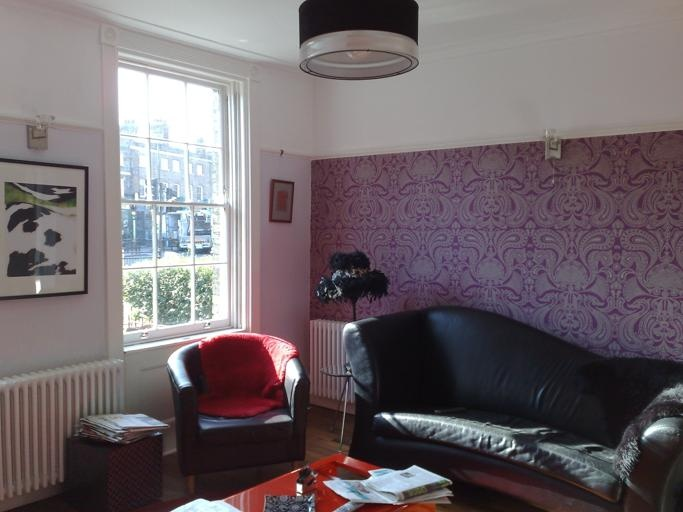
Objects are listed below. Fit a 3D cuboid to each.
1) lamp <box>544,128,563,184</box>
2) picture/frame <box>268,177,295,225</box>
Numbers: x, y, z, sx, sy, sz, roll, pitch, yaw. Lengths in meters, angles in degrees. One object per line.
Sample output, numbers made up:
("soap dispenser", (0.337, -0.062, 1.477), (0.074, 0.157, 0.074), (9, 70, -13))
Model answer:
("lamp", (1.565, -0.729, 3.941), (0.122, 0.392, 0.196), (0, 3, 22))
("picture/frame", (-0.568, -0.514, 4.939), (0.034, 0.502, 0.427), (3, 3, 36))
